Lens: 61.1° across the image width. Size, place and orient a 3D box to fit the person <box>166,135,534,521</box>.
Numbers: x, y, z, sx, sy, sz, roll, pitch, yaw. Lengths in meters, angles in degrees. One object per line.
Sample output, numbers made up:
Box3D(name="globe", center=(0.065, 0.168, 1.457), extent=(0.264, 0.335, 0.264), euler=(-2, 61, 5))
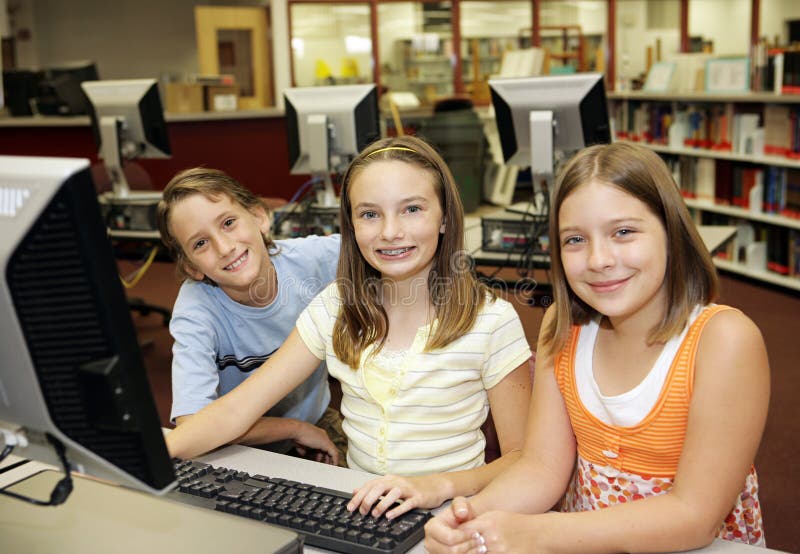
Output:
Box3D(name="person", center=(-0.048, 0.054, 1.812), extent=(0.750, 0.897, 0.820), euler=(7, 9, 41))
